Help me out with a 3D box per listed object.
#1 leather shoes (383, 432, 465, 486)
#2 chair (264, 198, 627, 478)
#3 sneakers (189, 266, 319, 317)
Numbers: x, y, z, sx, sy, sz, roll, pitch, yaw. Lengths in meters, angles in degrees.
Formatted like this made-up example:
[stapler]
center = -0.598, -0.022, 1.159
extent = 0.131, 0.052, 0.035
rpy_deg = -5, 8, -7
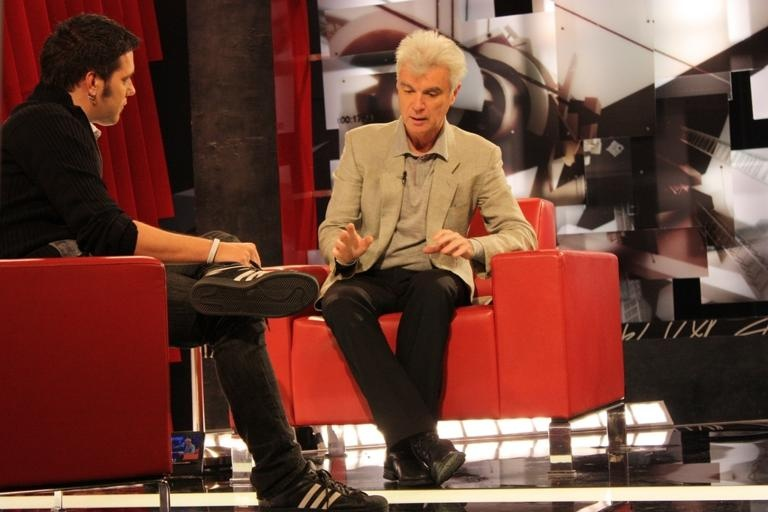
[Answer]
[leather shoes]
center = 0.114, 0.725, 2.531
extent = 0.138, 0.170, 0.361
rpy_deg = -19, -3, -41
[chair]
center = 0.303, 0.155, 2.756
extent = 1.325, 0.861, 0.716
rpy_deg = -7, -13, 21
[sneakers]
center = -0.381, 0.096, 2.242
extent = 0.423, 0.148, 0.281
rpy_deg = 1, 11, 6
